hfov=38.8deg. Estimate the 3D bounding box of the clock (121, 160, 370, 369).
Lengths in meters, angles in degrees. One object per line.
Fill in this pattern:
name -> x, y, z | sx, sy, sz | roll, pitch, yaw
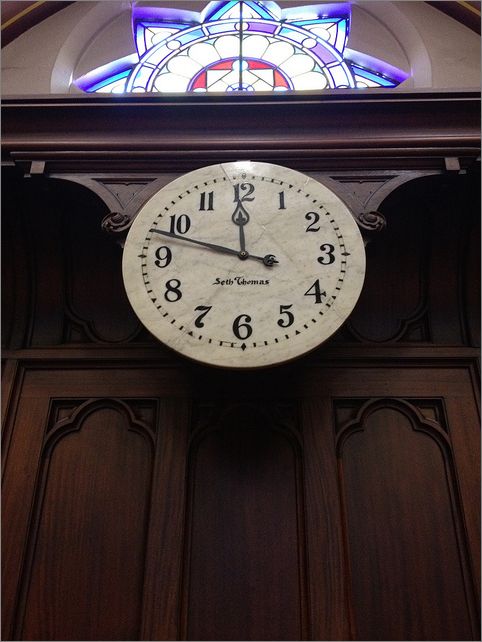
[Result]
clock -> 0.012, -0.227, 2.321 | 0.860, 0.771, 0.116 | 2, -26, 4
